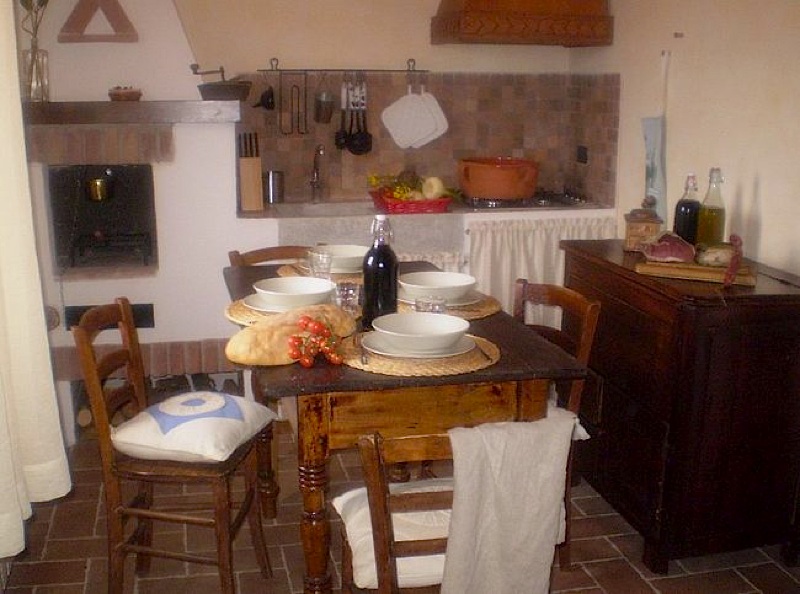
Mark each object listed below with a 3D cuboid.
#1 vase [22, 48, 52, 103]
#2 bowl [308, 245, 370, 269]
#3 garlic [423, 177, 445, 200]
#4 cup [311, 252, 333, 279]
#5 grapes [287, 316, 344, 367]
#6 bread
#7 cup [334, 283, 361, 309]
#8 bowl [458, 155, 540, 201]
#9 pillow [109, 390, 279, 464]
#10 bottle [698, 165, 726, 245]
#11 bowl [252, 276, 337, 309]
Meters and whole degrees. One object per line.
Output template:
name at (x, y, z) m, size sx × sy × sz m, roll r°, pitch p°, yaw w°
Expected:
vase at (-1.843, -1.124, 3.398) m, size 0.112 × 0.269 × 0.236 m, roll -5°, pitch 13°, yaw -6°
bowl at (-0.249, -0.174, 2.853) m, size 0.152 × 0.049 × 0.151 m, roll -1°, pitch 10°, yaw 0°
garlic at (0.206, -0.648, 3.947) m, size 0.133 × 0.129 × 0.048 m, roll -15°, pitch -6°, yaw 32°
cup at (-0.298, -0.118, 2.611) m, size 0.096 × 0.103 × 0.094 m, roll 0°, pitch 7°, yaw 0°
grapes at (-0.259, 0.134, 2.000) m, size 0.148 × 0.146 × 0.055 m, roll -32°, pitch -15°, yaw -20°
bread at (-0.332, 0.108, 2.067) m, size 0.327 × 0.091 × 0.195 m, roll -13°, pitch 22°, yaw -30°
cup at (-0.186, -0.003, 2.427) m, size 0.088 × 0.073 × 0.096 m, roll 1°, pitch 7°, yaw 0°
bowl at (0.621, -0.732, 4.173) m, size 0.419 × 0.172 × 0.330 m, roll -2°, pitch 13°, yaw -8°
pillow at (-0.708, 0.435, 2.201) m, size 0.282 × 0.085 × 0.289 m, roll 3°, pitch 11°, yaw 17°
bottle at (1.312, -0.378, 2.787) m, size 0.100 × 0.315 × 0.323 m, roll 3°, pitch 14°, yaw 24°
bowl at (-0.380, -0.026, 2.451) m, size 0.183 × 0.047 × 0.177 m, roll 0°, pitch 15°, yaw 0°
